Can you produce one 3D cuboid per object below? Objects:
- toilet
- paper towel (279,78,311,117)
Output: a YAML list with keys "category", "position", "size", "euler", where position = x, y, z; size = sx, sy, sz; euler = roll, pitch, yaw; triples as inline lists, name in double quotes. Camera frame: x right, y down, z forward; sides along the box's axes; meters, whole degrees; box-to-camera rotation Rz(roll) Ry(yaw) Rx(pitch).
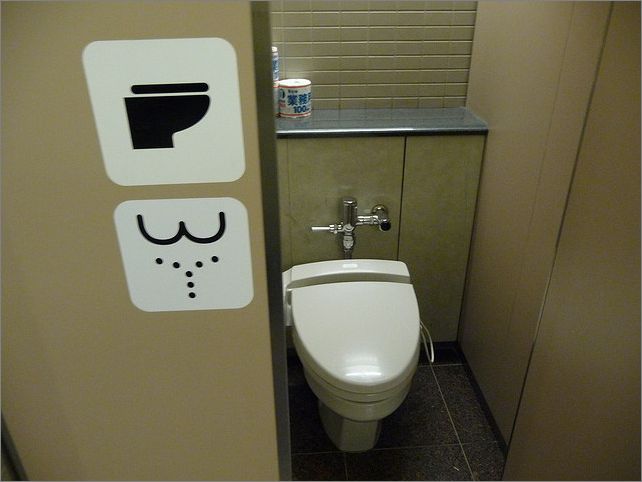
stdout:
- category: "toilet"
  position: [0.118, 0.356, 1.803]
  size: [0.422, 0.496, 0.610]
  euler: [-2, 41, 0]
- category: "paper towel"
  position: [-0.095, -0.521, 1.896]
  size: [0.120, 0.115, 0.113]
  euler: [5, 32, 7]
